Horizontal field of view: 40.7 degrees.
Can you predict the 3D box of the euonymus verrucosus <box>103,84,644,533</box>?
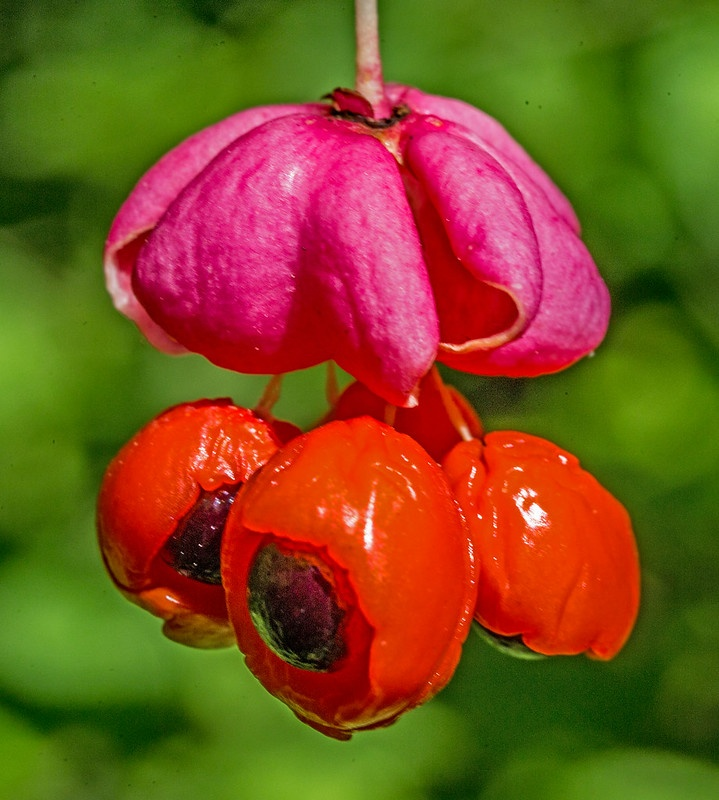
[{"bbox_3d":[-0.002,-0.095,0.717,0.374,0.361,0.147,6,101,9],"label":"euonymus verrucosus"}]
